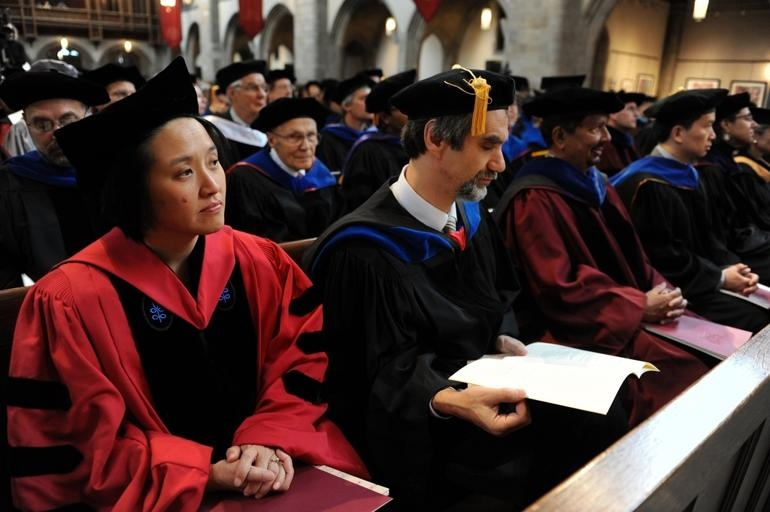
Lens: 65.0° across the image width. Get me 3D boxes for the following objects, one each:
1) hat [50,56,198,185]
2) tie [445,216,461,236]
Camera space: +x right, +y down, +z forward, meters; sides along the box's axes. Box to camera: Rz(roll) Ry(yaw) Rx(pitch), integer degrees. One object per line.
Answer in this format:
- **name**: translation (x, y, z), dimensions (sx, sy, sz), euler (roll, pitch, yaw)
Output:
- **hat**: translation (-1.030, -0.519, 2.387), dimensions (0.474, 0.503, 0.140), euler (-5, 18, -29)
- **tie**: translation (0.354, -0.154, 3.150), dimensions (0.070, 0.035, 0.103), euler (7, 55, -7)
